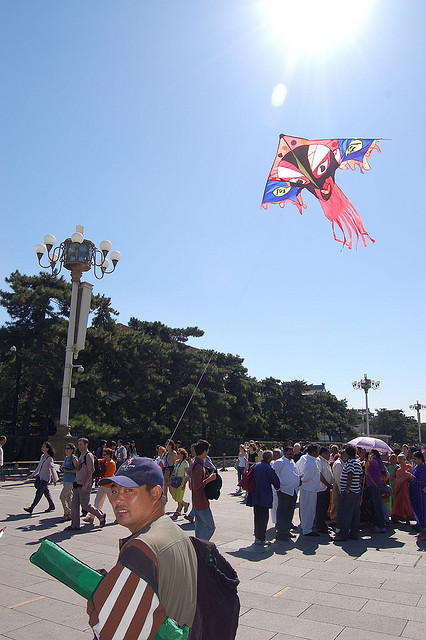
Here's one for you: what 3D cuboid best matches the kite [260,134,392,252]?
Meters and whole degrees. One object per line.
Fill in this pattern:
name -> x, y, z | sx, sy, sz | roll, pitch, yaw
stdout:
kite -> 2.328, -2.895, 12.172 | 1.830, 2.466, 2.867 | 17, -14, -42

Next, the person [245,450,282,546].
person -> 0.905, 3.157, 9.066 | 0.616, 1.505, 1.142 | 6, -10, 8

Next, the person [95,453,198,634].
person -> -0.253, 0.849, 1.974 | 0.422, 0.571, 0.725 | 9, -10, -11

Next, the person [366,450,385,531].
person -> 3.333, 3.485, 10.415 | 0.398, 1.595, 0.593 | 5, -10, 14

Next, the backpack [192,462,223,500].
backpack -> -0.071, 2.290, 7.076 | 0.380, 0.394, 0.272 | 10, -23, 3
